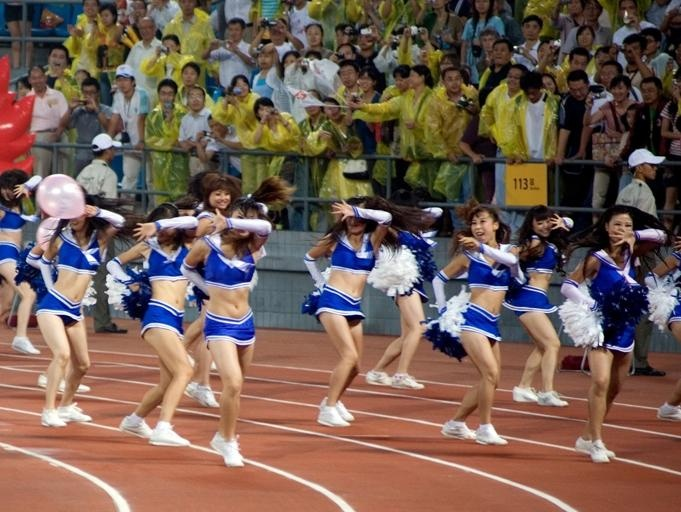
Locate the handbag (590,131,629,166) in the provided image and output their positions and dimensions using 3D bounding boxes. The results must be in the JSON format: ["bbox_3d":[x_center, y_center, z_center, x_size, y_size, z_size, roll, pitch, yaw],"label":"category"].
[{"bbox_3d":[3.473,-1.393,13.681,0.355,0.406,0.541,-1,1,-42],"label":"handbag"}]

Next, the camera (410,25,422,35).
[{"bbox_3d":[1.045,-3.168,14.989,0.109,0.087,0.204,-4,19,-22],"label":"camera"}]

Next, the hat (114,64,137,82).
[{"bbox_3d":[-3.408,-2.901,16.727,0.217,0.177,0.324,-5,-10,3],"label":"hat"}]

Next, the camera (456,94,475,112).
[{"bbox_3d":[1.709,-2.043,14.403,0.241,0.157,0.120,14,1,-26],"label":"camera"}]

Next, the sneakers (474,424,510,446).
[{"bbox_3d":[1.413,1.622,9.654,0.361,0.186,0.135,0,3,35],"label":"sneakers"}]

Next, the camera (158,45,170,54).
[{"bbox_3d":[-2.821,-3.259,16.845,0.121,0.078,0.176,6,-4,-1],"label":"camera"}]

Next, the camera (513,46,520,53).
[{"bbox_3d":[2.472,-2.898,14.935,0.089,0.132,0.120,0,1,1],"label":"camera"}]

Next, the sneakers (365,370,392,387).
[{"bbox_3d":[0.453,1.444,12.559,0.308,0.150,0.138,5,14,-1],"label":"sneakers"}]

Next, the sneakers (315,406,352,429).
[{"bbox_3d":[-0.088,1.562,10.297,0.372,0.182,0.142,2,3,30],"label":"sneakers"}]

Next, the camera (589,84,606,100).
[{"bbox_3d":[3.280,-2.084,13.648,0.197,0.197,0.054,-12,28,-16],"label":"camera"}]

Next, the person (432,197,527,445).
[{"bbox_3d":[1.248,0.607,9.907,0.845,2.195,0.959,4,5,8],"label":"person"}]

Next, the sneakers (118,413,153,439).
[{"bbox_3d":[-1.894,1.545,9.763,0.352,0.159,0.157,16,30,-21],"label":"sneakers"}]

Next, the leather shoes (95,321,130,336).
[{"bbox_3d":[-3.492,1.091,16.135,0.503,0.213,0.175,-1,6,-19],"label":"leather shoes"}]

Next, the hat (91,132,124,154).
[{"bbox_3d":[-3.159,-1.517,14.456,0.285,0.236,0.443,16,18,39],"label":"hat"}]

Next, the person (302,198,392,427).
[{"bbox_3d":[0.071,0.516,10.664,0.670,2.213,1.008,3,5,-9],"label":"person"}]

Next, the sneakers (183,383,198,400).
[{"bbox_3d":[-1.578,1.430,11.291,0.132,0.192,0.192,13,-5,0],"label":"sneakers"}]

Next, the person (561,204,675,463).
[{"bbox_3d":[2.370,0.648,9.464,0.759,2.193,0.992,6,5,25],"label":"person"}]

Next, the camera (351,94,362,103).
[{"bbox_3d":[0.209,-2.159,14.594,0.086,0.152,0.148,14,21,19],"label":"camera"}]

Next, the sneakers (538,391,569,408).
[{"bbox_3d":[2.279,1.526,11.373,0.271,0.127,0.153,2,4,13],"label":"sneakers"}]

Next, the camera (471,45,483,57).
[{"bbox_3d":[1.969,-2.941,15.323,0.112,0.171,0.160,15,-33,1],"label":"camera"}]

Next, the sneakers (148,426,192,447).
[{"bbox_3d":[-1.537,1.596,9.516,0.410,0.198,0.152,6,3,-2],"label":"sneakers"}]

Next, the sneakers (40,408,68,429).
[{"bbox_3d":[-2.741,1.538,10.088,0.246,0.122,0.133,3,4,40],"label":"sneakers"}]

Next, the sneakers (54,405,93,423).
[{"bbox_3d":[-2.606,1.532,10.355,0.364,0.180,0.147,5,10,-13],"label":"sneakers"}]

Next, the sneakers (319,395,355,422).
[{"bbox_3d":[-0.051,1.522,10.357,0.190,0.178,0.366,4,-4,-27],"label":"sneakers"}]

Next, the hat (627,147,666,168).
[{"bbox_3d":[3.446,-1.096,11.962,0.332,0.150,0.228,-4,13,16],"label":"hat"}]

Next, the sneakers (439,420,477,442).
[{"bbox_3d":[1.107,1.631,9.865,0.309,0.143,0.136,4,-37,5],"label":"sneakers"}]

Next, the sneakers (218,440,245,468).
[{"bbox_3d":[-0.914,1.639,8.931,0.218,0.236,0.226,3,5,-5],"label":"sneakers"}]

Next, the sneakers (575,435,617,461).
[{"bbox_3d":[2.177,1.672,9.191,0.295,0.123,0.159,23,36,35],"label":"sneakers"}]

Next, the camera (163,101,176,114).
[{"bbox_3d":[-2.655,-2.279,16.358,0.143,0.194,0.166,-12,-2,-3],"label":"camera"}]

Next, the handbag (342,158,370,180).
[{"bbox_3d":[0.217,-1.232,15.207,0.351,0.380,0.239,4,6,3],"label":"handbag"}]

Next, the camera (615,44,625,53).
[{"bbox_3d":[3.765,-2.782,14.320,0.109,0.132,0.428,5,6,14],"label":"camera"}]

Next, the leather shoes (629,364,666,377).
[{"bbox_3d":[3.755,1.410,12.937,0.418,0.205,0.155,0,4,11],"label":"leather shoes"}]
